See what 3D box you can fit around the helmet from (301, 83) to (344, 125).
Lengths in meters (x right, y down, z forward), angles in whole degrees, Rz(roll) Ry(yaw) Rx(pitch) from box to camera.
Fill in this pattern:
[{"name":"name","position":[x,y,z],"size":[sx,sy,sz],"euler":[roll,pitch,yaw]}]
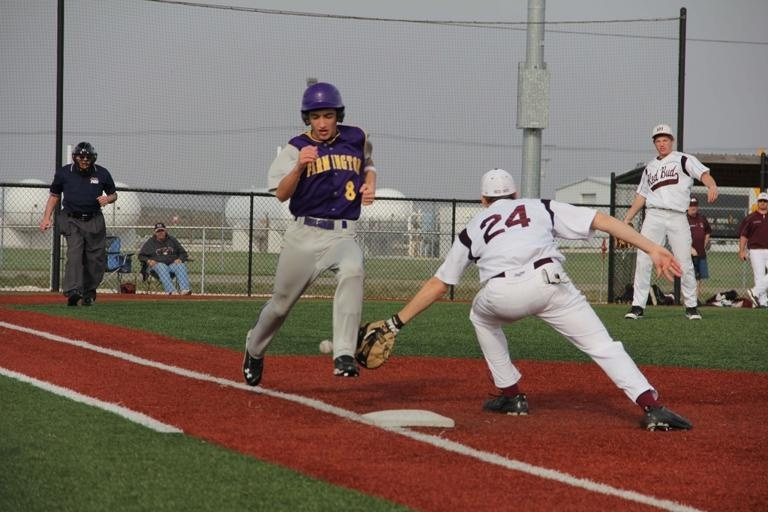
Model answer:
[{"name":"helmet","position":[-0.582,-1.416,10.121],"size":[0.409,0.361,0.429],"euler":[-7,-11,-2]}]

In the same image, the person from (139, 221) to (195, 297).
[{"name":"person","position":[-4.245,0.162,20.152],"size":[0.961,1.535,1.338],"euler":[-7,-4,-30]}]

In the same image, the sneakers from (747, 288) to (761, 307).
[{"name":"sneakers","position":[6.618,0.809,18.967],"size":[0.205,0.520,0.175],"euler":[-3,33,30]}]

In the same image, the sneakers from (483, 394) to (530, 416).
[{"name":"sneakers","position":[1.176,1.410,10.040],"size":[0.450,0.192,0.178],"euler":[2,-4,25]}]

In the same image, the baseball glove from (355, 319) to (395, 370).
[{"name":"baseball glove","position":[-0.052,0.857,10.001],"size":[0.338,0.457,0.197],"euler":[19,9,14]}]

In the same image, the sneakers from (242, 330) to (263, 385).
[{"name":"sneakers","position":[-1.242,1.018,10.437],"size":[0.181,0.537,0.236],"euler":[4,1,-22]}]

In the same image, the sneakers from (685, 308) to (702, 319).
[{"name":"sneakers","position":[4.684,0.880,16.038],"size":[0.121,0.137,0.354],"euler":[0,-3,-2]}]

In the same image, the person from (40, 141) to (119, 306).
[{"name":"person","position":[-4.428,-0.408,15.494],"size":[1.017,2.435,0.777],"euler":[0,9,-14]}]

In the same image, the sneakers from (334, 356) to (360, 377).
[{"name":"sneakers","position":[-0.352,1.040,9.847],"size":[0.214,0.265,0.351],"euler":[1,9,-5]}]

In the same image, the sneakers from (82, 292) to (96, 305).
[{"name":"sneakers","position":[-4.413,0.641,15.839],"size":[0.155,0.113,0.206],"euler":[6,47,6]}]

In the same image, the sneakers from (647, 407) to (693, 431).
[{"name":"sneakers","position":[2.528,1.481,9.499],"size":[0.305,0.137,0.232],"euler":[-1,3,0]}]
